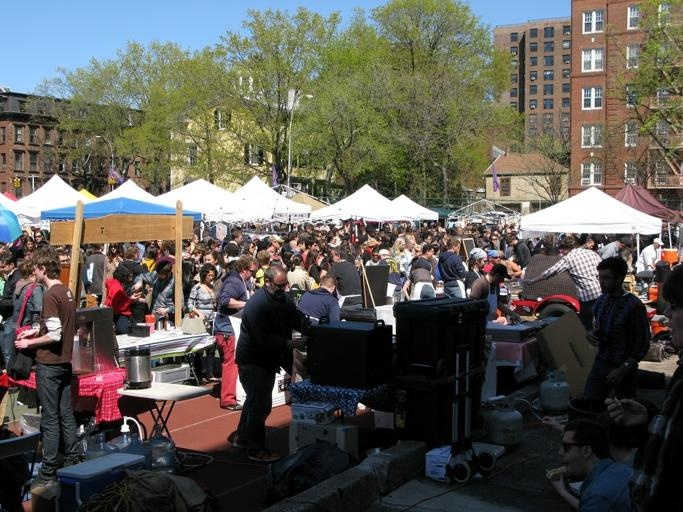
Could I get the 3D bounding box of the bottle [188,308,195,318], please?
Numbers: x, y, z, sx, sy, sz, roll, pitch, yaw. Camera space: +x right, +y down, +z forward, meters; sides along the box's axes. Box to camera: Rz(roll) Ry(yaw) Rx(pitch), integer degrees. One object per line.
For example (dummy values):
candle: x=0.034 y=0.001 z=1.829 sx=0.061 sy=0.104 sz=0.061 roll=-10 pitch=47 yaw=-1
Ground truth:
bottle: x=-2.525 y=0.970 z=11.894 sx=0.123 sy=0.165 sz=0.154 roll=0 pitch=-1 yaw=-26

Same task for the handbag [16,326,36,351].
handbag: x=-3.624 y=0.946 z=8.144 sx=0.279 sy=0.298 sz=0.122 roll=3 pitch=-4 yaw=27

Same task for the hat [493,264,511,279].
hat: x=2.534 y=0.271 z=11.165 sx=0.273 sy=0.147 sz=0.193 roll=17 pitch=20 yaw=-4

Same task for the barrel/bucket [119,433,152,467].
barrel/bucket: x=-2.165 y=2.063 z=7.527 sx=0.315 sy=0.362 sz=0.312 roll=1 pitch=1 yaw=0

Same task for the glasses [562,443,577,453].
glasses: x=2.080 y=1.752 z=6.402 sx=0.111 sy=0.031 sz=0.106 roll=-2 pitch=1 yaw=40

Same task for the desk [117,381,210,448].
desk: x=-2.245 y=2.089 z=8.813 sx=0.806 sy=0.866 sz=1.047 roll=9 pitch=-3 yaw=11

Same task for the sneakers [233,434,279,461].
sneakers: x=-1.104 y=2.417 z=8.742 sx=0.672 sy=0.277 sz=0.233 roll=2 pitch=4 yaw=16

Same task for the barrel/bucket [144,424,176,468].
barrel/bucket: x=-2.083 y=2.238 z=8.214 sx=0.369 sy=0.536 sz=0.360 roll=-1 pitch=0 yaw=0

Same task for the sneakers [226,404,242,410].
sneakers: x=-1.636 y=2.306 z=10.712 sx=0.247 sy=0.104 sz=0.101 roll=-6 pitch=0 yaw=21
